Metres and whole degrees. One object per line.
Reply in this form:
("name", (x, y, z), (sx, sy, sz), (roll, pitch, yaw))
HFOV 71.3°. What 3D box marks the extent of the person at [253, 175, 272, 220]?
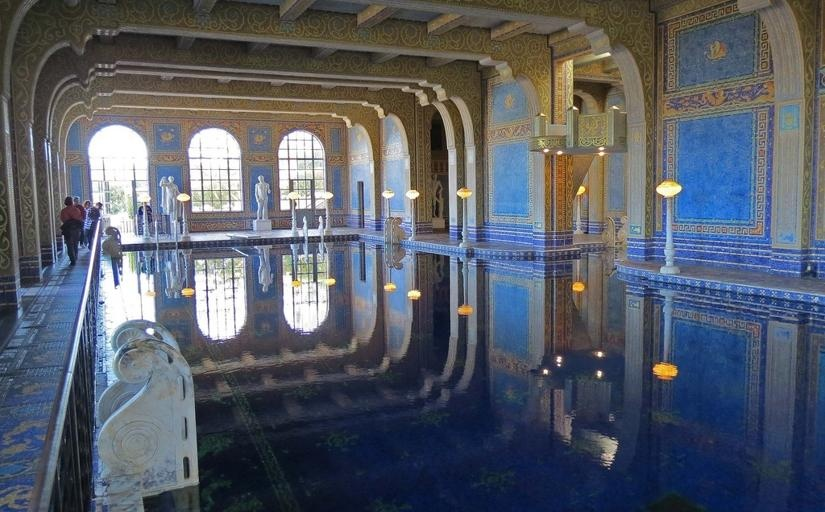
("person", (-5.873, -2.312, 22.616), (0.625, 1.631, 1.544), (-4, 12, -14))
